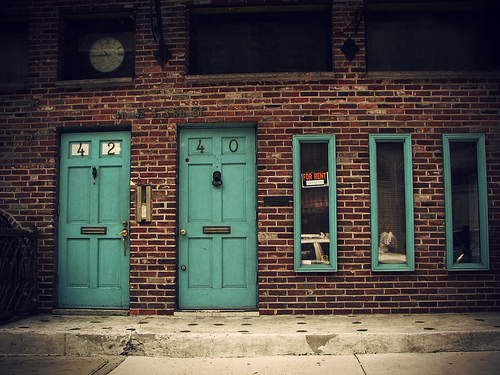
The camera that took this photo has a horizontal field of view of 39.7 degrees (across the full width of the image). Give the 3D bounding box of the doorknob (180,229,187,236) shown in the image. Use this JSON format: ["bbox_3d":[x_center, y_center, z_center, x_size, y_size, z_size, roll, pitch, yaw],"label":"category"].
[{"bbox_3d":[-1.096,0.720,11.240,0.087,0.083,0.047,5,-7,10],"label":"doorknob"}]

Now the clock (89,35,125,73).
[{"bbox_3d":[-2.401,-2.215,11.640,0.666,0.637,0.066,0,-5,6],"label":"clock"}]
